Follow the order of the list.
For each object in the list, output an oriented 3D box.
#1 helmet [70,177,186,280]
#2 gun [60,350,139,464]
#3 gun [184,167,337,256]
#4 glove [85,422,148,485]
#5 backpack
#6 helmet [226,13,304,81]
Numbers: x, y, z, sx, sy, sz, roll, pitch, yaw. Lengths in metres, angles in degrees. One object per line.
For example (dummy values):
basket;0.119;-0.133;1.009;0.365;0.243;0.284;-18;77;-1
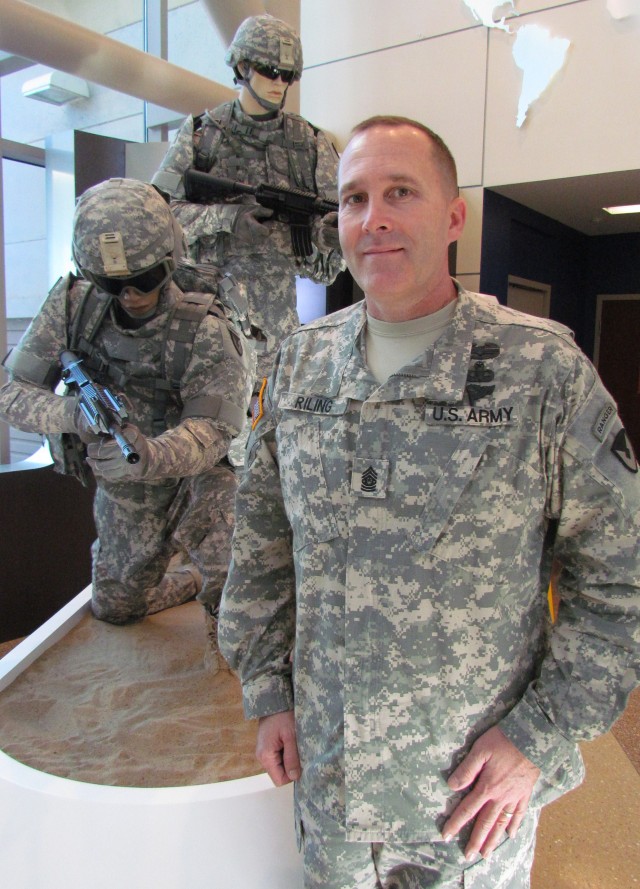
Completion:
helmet;-0.530;-0.620;2.200;0.288;0.267;0.320;-5;22;3
gun;-0.631;-0.119;2.196;0.098;0.355;0.139;-18;-32;-24
gun;-0.160;-0.874;2.956;0.766;0.291;0.103;8;-18;-21
glove;-0.564;0.015;2.107;0.108;0.134;0.126;21;-27;-13
backpack;-0.493;-0.396;2.537;0.580;0.551;0.400;-10;35;-1
helmet;-0.215;-1.492;2.923;0.251;0.208;0.253;-19;48;-33
